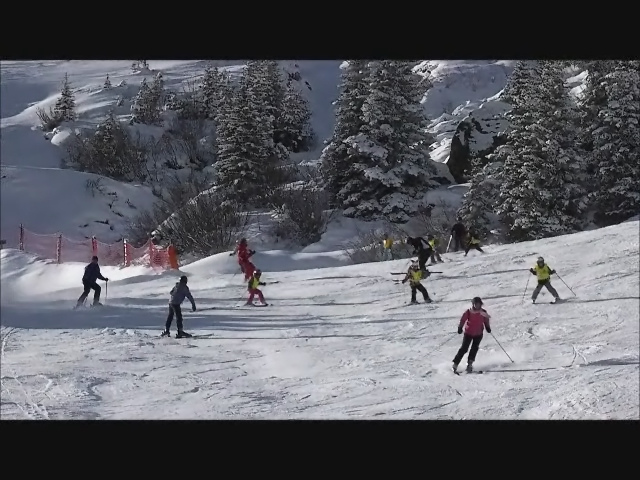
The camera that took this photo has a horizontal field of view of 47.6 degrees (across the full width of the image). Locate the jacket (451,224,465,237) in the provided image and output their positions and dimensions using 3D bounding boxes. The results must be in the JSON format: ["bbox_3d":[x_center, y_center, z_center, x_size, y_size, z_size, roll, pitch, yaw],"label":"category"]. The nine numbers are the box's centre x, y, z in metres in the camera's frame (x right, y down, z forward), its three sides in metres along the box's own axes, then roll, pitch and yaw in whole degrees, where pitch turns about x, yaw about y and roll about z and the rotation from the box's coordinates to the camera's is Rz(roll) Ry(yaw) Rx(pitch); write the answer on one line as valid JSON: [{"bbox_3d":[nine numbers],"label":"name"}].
[{"bbox_3d":[6.164,-0.387,32.170,0.530,0.574,0.614,1,11,10],"label":"jacket"}]

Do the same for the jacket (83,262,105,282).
[{"bbox_3d":[-7.437,1.105,23.554,0.559,0.753,0.807,-5,11,-19],"label":"jacket"}]

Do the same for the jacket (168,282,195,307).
[{"bbox_3d":[-4.469,1.783,23.299,0.972,0.627,0.348,14,11,39],"label":"jacket"}]

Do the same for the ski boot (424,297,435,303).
[{"bbox_3d":[3.868,2.145,25.721,0.135,0.220,0.415,-4,-3,-30],"label":"ski boot"}]

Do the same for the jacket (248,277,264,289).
[{"bbox_3d":[-2.231,1.469,24.803,0.428,0.481,0.461,6,29,-9],"label":"jacket"}]

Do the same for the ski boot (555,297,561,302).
[{"bbox_3d":[8.031,2.001,24.395,0.096,0.181,0.174,-4,-7,22],"label":"ski boot"}]

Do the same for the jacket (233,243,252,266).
[{"bbox_3d":[-3.048,0.563,28.452,0.711,0.801,0.348,-2,26,11],"label":"jacket"}]

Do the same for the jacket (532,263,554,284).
[{"bbox_3d":[7.028,1.219,22.821,0.748,0.842,0.570,-1,-21,8],"label":"jacket"}]

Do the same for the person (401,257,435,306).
[{"bbox_3d":[3.355,1.463,25.215,0.996,1.604,0.548,-3,14,14],"label":"person"}]

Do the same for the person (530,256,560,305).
[{"bbox_3d":[7.074,1.262,23.000,0.823,1.565,0.502,-7,18,19],"label":"person"}]

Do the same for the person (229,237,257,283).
[{"bbox_3d":[-3.445,0.938,31.743,0.501,1.540,1.125,15,48,19],"label":"person"}]

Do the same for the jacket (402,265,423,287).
[{"bbox_3d":[3.258,1.286,25.344,0.821,0.539,1.189,9,-14,20],"label":"jacket"}]
